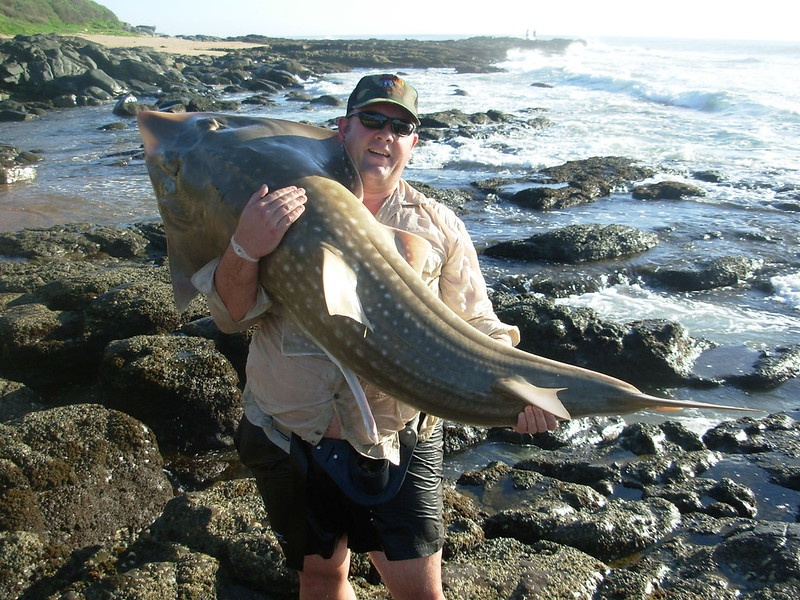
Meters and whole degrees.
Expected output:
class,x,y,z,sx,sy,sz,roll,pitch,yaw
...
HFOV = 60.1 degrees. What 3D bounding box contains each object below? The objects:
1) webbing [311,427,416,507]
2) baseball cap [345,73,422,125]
class,x,y,z,sx,sy,sz,roll,pitch,yaw
webbing,-0.239,1.153,4.742,0.912,0.398,0.287,-12,-18,-3
baseball cap,-0.104,-1.418,4.880,0.445,0.207,0.448,12,-8,-6
